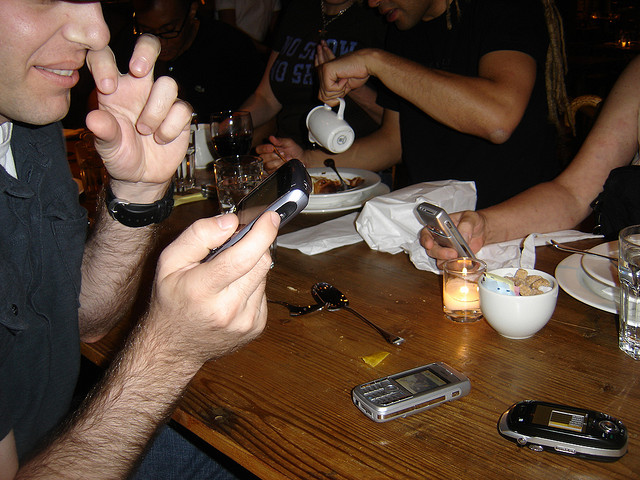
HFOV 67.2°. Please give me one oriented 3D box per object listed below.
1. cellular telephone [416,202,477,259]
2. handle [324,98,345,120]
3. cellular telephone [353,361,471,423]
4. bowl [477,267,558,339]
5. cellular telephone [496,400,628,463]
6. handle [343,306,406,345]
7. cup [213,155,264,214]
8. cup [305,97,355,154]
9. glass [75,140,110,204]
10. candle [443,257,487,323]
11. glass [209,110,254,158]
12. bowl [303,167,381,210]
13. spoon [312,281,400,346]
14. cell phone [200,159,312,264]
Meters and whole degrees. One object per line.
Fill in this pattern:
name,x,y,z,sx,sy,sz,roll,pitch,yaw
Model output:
cellular telephone,0.309,-0.024,1.194,0.127,0.141,0.065,21,44,40
handle,0.055,-0.499,1.837,0.079,0.062,0.140,-7,29,2
cellular telephone,0.159,0.261,0.866,0.184,0.039,0.084,-10,25,-20
bowl,0.408,0.138,1.042,0.202,0.182,0.128,3,72,2
cellular telephone,0.391,0.299,0.777,0.165,0.043,0.084,8,30,19
handle,0.122,0.185,1.071,0.034,0.024,0.186,-17,25,-22
cup,-0.222,-0.184,1.549,0.206,0.196,0.190,-1,12,0
cup,0.021,-0.418,1.850,0.158,0.215,0.160,15,17,-5
glass,-0.900,-0.268,1.876,0.116,0.199,0.231,-23,34,-20
candle,0.322,0.138,1.099,0.083,0.086,0.085,1,-8,-8
glass,-0.357,-0.412,1.942,0.179,0.182,0.185,18,30,40
bowl,0.083,-0.190,1.721,0.269,0.055,0.249,-2,27,1
spoon,0.066,0.151,1.110,0.075,0.040,0.290,-27,34,-19
cell phone,-0.097,-0.078,0.872,0.151,0.106,0.213,-22,33,-23
